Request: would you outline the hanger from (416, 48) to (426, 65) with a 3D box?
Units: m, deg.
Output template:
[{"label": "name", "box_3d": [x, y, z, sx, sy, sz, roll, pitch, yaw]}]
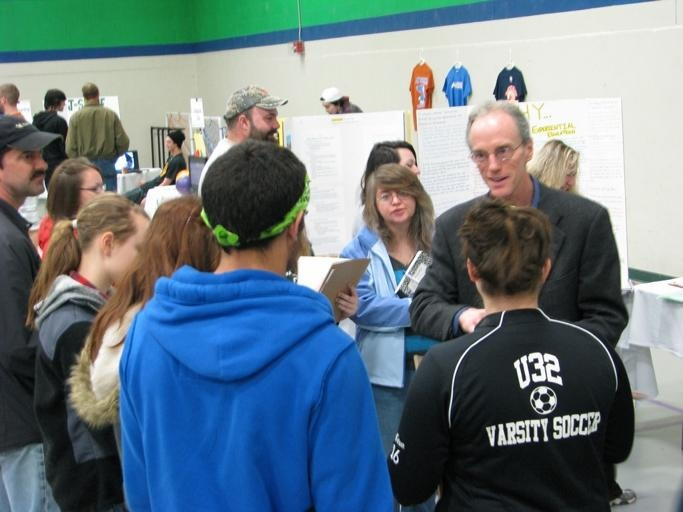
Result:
[{"label": "hanger", "box_3d": [0.960, -2.385, 7.461, 0.037, 0.184, 0.130, -7, 12, -26]}]

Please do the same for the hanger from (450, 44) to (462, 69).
[{"label": "hanger", "box_3d": [1.292, -2.217, 6.984, 0.035, 0.224, 0.168, -8, 12, -29]}]

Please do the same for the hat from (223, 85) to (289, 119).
[{"label": "hat", "box_3d": [-0.588, -1.059, 4.323, 0.394, 0.156, 0.260, -17, 11, 2]}]

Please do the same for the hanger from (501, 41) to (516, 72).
[{"label": "hanger", "box_3d": [1.726, -2.036, 6.407, 0.043, 0.250, 0.160, -7, 12, -26]}]
